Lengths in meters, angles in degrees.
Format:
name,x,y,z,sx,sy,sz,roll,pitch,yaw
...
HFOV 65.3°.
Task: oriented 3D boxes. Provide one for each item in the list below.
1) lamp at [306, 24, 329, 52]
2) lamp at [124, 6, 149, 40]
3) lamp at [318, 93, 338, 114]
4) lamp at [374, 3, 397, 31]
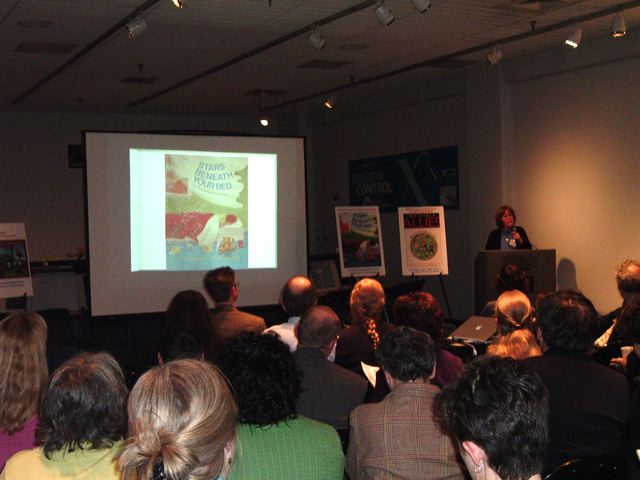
name,x,y,z,sx,sy,sz,roll,pitch,yaw
lamp,-0.044,-2.289,5.754,0.278,0.363,0.150,-13,12,-22
lamp,-1.918,-2.289,5.247,0.173,0.318,0.441,-1,0,-21
lamp,0.165,-2.603,9.585,0.350,0.527,0.164,0,-4,0
lamp,0.649,-2.295,5.032,0.163,0.254,0.270,-1,0,7
